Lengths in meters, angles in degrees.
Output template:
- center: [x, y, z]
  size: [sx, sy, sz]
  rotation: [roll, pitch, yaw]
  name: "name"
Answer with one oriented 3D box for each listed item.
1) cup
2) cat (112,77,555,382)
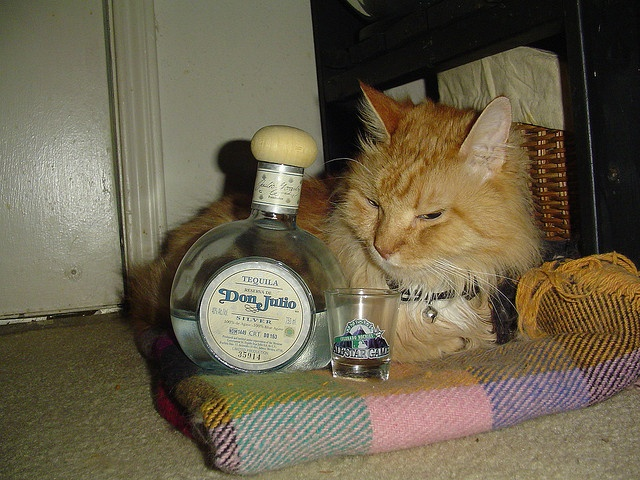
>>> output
- center: [0.097, 0.209, 1.173]
  size: [0.215, 0.195, 0.197]
  rotation: [3, -7, 0]
  name: "cup"
- center: [0.063, -0.061, 1.650]
  size: [1.154, 0.594, 0.725]
  rotation: [-4, 9, 10]
  name: "cat"
